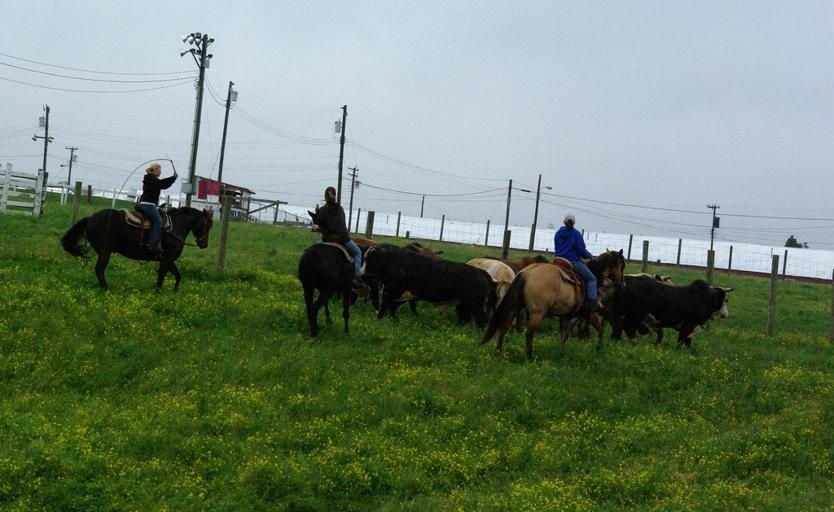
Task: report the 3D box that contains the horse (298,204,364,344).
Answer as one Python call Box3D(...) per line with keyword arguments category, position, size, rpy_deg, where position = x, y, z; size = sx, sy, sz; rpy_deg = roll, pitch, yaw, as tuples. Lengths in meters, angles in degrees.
Box3D(category="horse", position=(-2.393, 0.208, 19.158), size=(1.719, 3.472, 2.898), rpy_deg=(4, 7, -5))

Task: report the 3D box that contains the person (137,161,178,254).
Box3D(category="person", position=(-7.516, -1.313, 19.281), size=(0.911, 2.555, 1.304), rpy_deg=(2, 7, -23))

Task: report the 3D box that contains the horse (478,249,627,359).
Box3D(category="horse", position=(3.722, 1.071, 20.160), size=(5.929, 2.820, 3.865), rpy_deg=(-2, 9, -41))
